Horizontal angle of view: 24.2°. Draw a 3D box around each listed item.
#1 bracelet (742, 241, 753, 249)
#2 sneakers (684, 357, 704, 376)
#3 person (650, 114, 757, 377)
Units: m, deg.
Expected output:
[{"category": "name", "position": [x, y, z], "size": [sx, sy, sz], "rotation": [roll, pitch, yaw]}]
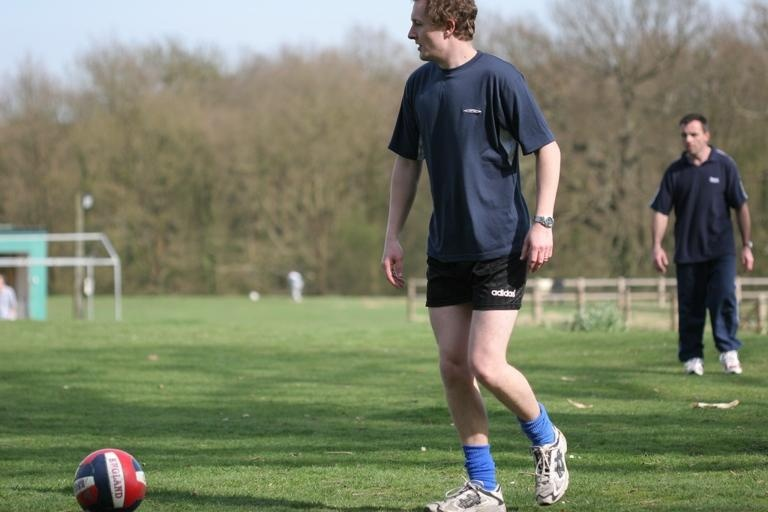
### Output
[{"category": "bracelet", "position": [4.131, -0.141, 20.348], "size": [0.069, 0.053, 0.093], "rotation": [-3, -42, 13]}, {"category": "sneakers", "position": [3.482, 1.229, 20.068], "size": [0.205, 0.203, 0.150], "rotation": [-11, -4, 27]}, {"category": "person", "position": [3.522, -0.133, 19.779], "size": [1.079, 2.331, 0.500], "rotation": [-3, -2, 7]}]
